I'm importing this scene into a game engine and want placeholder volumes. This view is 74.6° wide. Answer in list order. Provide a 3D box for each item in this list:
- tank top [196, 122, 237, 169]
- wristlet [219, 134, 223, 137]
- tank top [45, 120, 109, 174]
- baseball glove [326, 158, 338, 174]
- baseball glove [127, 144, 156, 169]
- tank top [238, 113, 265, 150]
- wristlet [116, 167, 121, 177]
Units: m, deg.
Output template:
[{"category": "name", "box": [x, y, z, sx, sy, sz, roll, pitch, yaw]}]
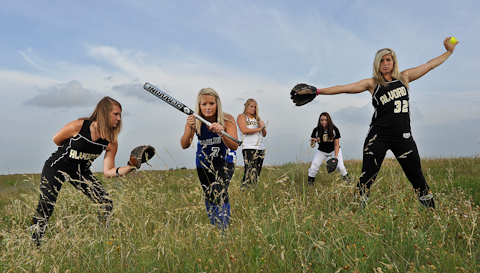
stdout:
[{"category": "tank top", "box": [-0.512, 0.166, 6.826, 0.854, 1.105, 0.621, -2, -30, -10]}, {"category": "wristlet", "box": [-0.385, -0.021, 6.798, 0.067, 0.061, 0.051, 1, -1, 35]}, {"category": "tank top", "box": [-3.614, 0.219, 7.023, 0.557, 0.942, 0.800, 41, 0, 39]}, {"category": "baseball glove", "box": [3.020, 0.923, 10.175, 0.359, 0.461, 0.176, 18, -26, 45]}, {"category": "baseball glove", "box": [-2.184, 0.436, 7.111, 0.779, 0.550, 0.439, 1, -19, 8]}, {"category": "tank top", "box": [0.347, -0.221, 10.220, 1.011, 1.291, 0.766, -5, 2, -41]}, {"category": "wristlet", "box": [-2.762, 0.815, 7.164, 0.106, 0.248, 0.519, 2, -1, -21]}]
